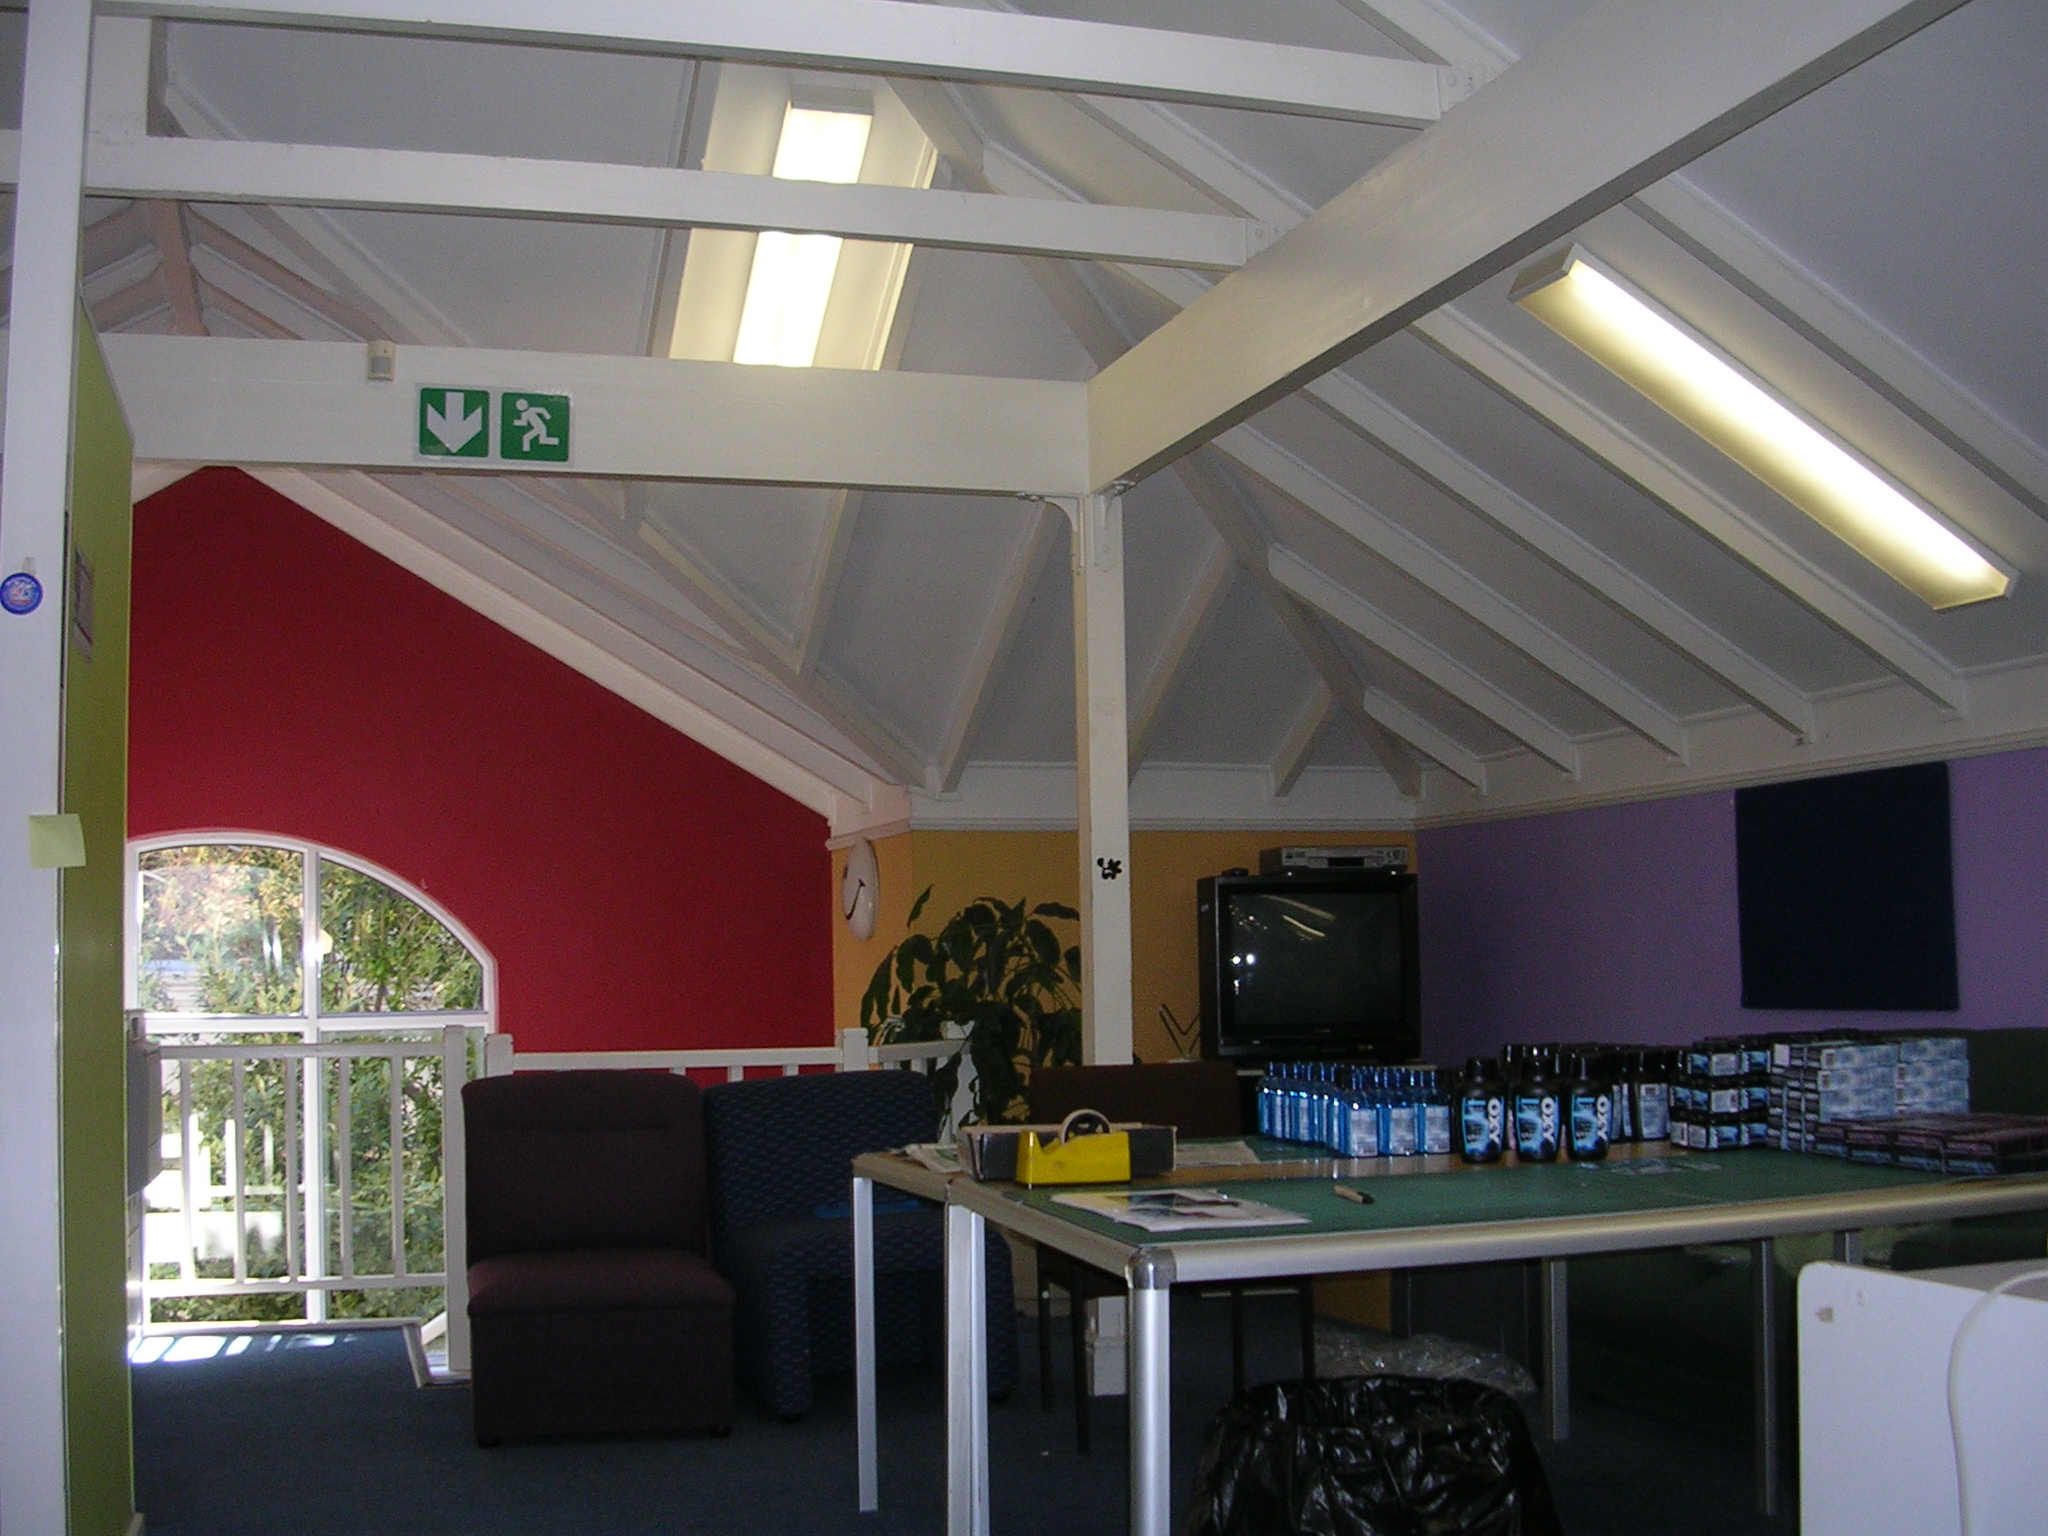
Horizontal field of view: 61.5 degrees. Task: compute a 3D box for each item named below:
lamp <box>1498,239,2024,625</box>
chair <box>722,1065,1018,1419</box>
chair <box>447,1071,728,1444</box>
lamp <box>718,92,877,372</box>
[{"bbox_3d":[2.255,-1.009,5.233,1.623,0.934,0.286,1,-8,-21],"label":"lamp"},{"bbox_3d":[-0.583,1.602,5.916,0.909,1.036,0.795,-1,-7,-28],"label":"chair"},{"bbox_3d":[-1.448,1.619,5.770,0.829,1.176,1.128,2,-11,-15],"label":"chair"},{"bbox_3d":[-0.914,-2.060,6.938,0.361,0.147,1.457,6,-41,-10],"label":"lamp"}]
